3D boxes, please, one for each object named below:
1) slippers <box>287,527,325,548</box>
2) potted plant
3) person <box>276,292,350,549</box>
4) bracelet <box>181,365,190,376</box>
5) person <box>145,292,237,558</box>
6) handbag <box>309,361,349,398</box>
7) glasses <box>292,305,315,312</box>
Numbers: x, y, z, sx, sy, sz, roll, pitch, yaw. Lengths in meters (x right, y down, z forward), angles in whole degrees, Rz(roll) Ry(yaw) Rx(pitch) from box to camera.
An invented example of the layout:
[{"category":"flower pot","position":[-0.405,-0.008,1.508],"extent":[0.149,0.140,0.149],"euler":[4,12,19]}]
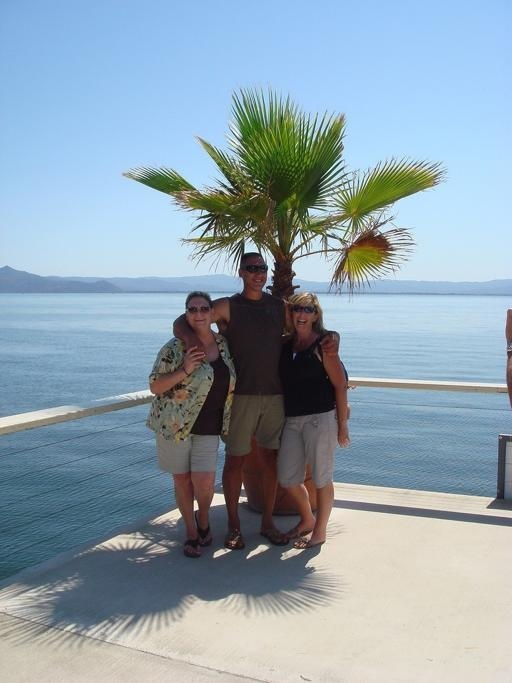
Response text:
[{"category":"slippers","position":[0.291,1.135,2.949],"extent":[0.198,0.084,0.263],"euler":[1,1,-12]},{"category":"potted plant","position":[0.141,-0.272,3.976],"extent":[2.549,2.800,1.940],"euler":[3,3,31]},{"category":"person","position":[0.327,0.446,2.921],"extent":[0.397,1.441,0.277],"euler":[1,1,14]},{"category":"bracelet","position":[-0.359,0.149,2.587],"extent":[0.029,0.048,0.056],"euler":[1,1,-12]},{"category":"person","position":[-0.347,0.448,2.761],"extent":[0.494,1.448,0.398],"euler":[1,1,-20]},{"category":"handbag","position":[0.406,0.216,2.861],"extent":[0.045,0.176,0.186],"euler":[-15,3,-4]},{"category":"glasses","position":[0.268,-0.182,2.860],"extent":[0.130,0.044,0.047],"euler":[1,1,3]}]
